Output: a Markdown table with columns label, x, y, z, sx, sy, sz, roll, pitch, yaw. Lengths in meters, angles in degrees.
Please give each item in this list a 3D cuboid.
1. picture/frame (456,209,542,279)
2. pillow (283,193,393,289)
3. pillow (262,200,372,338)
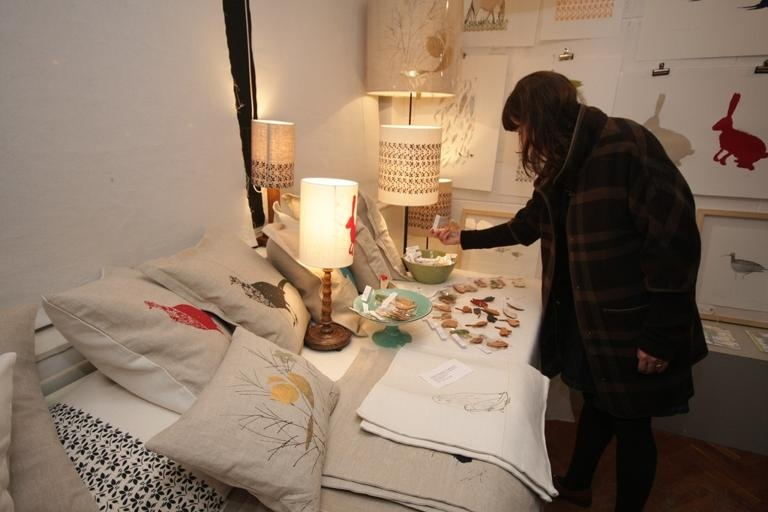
| label | x | y | z | sx | sy | sz | roll | pitch | yaw |
| --- | --- | --- | --- | --- | --- | --- | --- | --- | --- |
| picture/frame | 0.783 | -0.074 | 3.247 | 0.487 | 0.493 | 0.018 | 5 | 6 | 29 |
| pillow | -0.191 | -0.094 | 2.711 | 0.177 | 0.555 | 0.514 | -21 | 2 | 7 |
| pillow | -0.362 | 0.069 | 2.389 | 0.177 | 0.587 | 0.588 | -25 | 61 | 7 |
